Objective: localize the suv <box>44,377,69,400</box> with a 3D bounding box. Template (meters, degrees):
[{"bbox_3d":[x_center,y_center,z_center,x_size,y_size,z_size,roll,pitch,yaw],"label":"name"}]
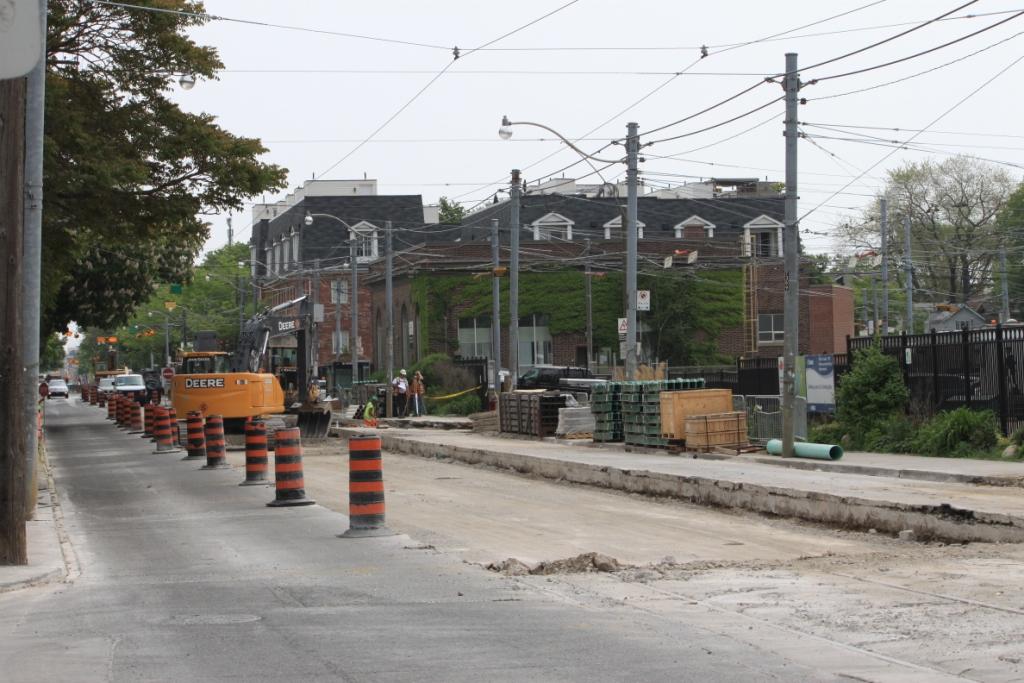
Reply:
[{"bbox_3d":[-39.099,4.085,128.696,1.756,1.362,3.665,1,-7,-13],"label":"suv"}]

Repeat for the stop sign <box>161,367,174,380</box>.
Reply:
[{"bbox_3d":[-19.369,1.789,84.198,0.893,0.789,1.487,-1,-5,-8],"label":"stop sign"}]

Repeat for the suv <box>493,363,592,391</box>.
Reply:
[{"bbox_3d":[1.245,1.337,63.055,3.288,1.022,1.462,1,-2,-1],"label":"suv"}]

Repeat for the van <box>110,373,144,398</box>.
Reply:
[{"bbox_3d":[-21.248,2.430,83.401,1.724,1.426,3.075,0,-9,-24],"label":"van"}]

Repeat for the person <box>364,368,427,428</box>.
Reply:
[{"bbox_3d":[-4.707,2.449,62.099,1.172,3.133,1.440,0,0,-24],"label":"person"}]
